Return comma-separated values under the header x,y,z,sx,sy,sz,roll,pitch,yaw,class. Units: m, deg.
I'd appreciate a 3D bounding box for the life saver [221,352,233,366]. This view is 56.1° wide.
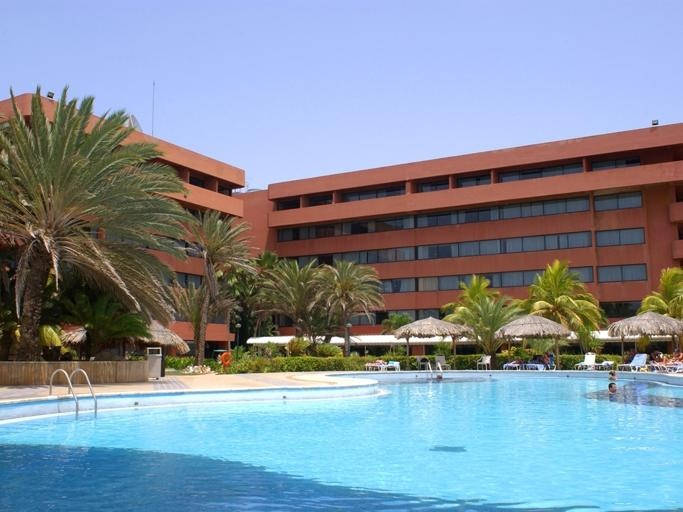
x,y,z,sx,sy,sz,roll,pitch,yaw,class
-7.107,6.315,39.375,0.789,0.775,0.202,2,-10,3,life saver
